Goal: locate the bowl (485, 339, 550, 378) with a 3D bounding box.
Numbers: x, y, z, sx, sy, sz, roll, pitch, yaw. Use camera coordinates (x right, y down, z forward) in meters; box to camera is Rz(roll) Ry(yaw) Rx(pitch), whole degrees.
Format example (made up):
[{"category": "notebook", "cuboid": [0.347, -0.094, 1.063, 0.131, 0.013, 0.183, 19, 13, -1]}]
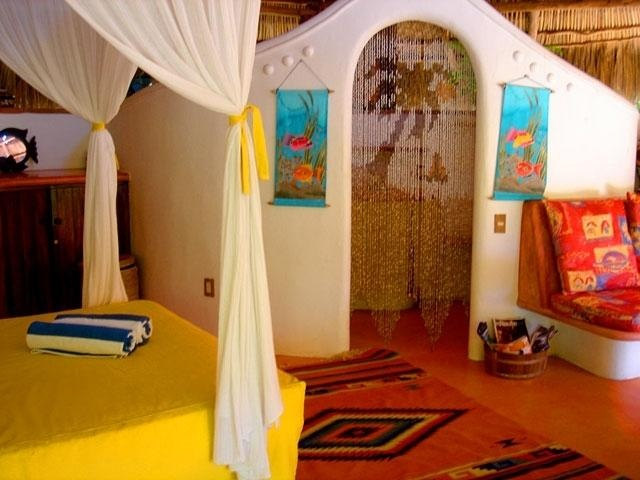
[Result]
[{"category": "bowl", "cuboid": [1.544, 0.905, 3.896, 0.277, 0.131, 0.298, -1, 10, 0]}]
